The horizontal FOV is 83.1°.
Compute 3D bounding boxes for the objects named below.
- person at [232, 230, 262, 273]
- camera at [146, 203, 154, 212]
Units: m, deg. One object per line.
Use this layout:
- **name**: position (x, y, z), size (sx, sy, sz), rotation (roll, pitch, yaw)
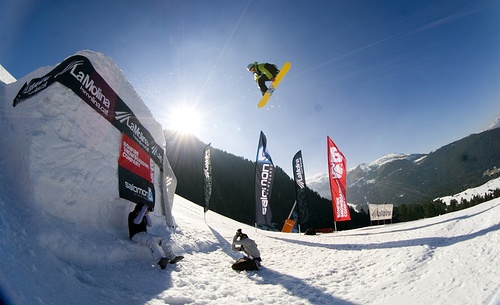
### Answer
- **person**: position (-0.216, 4.281, 12.272), size (1.471, 1.995, 1.079), rotation (-10, -23, 23)
- **camera**: position (-4.404, 2.433, 12.728), size (0.317, 0.340, 0.577), rotation (4, 0, -14)
